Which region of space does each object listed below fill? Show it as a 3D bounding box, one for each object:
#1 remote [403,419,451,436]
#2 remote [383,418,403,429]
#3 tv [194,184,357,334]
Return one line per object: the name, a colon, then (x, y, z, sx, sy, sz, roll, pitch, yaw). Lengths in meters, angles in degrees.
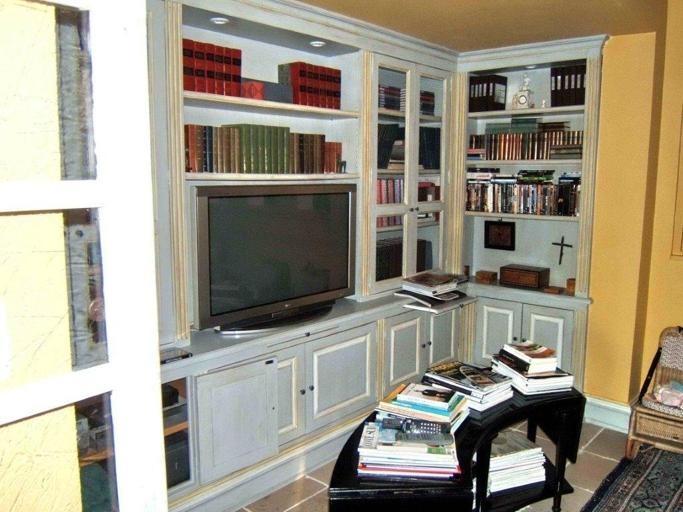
remote: (0.355, 0.742, 2.298, 0.118, 0.024, 0.080, 0, 8, -3)
remote: (0.222, 0.741, 2.351, 0.086, 0.009, 0.098, 1, 8, 5)
tv: (-0.409, 0.022, 3.058, 0.096, 0.639, 0.996, 6, 10, 39)
